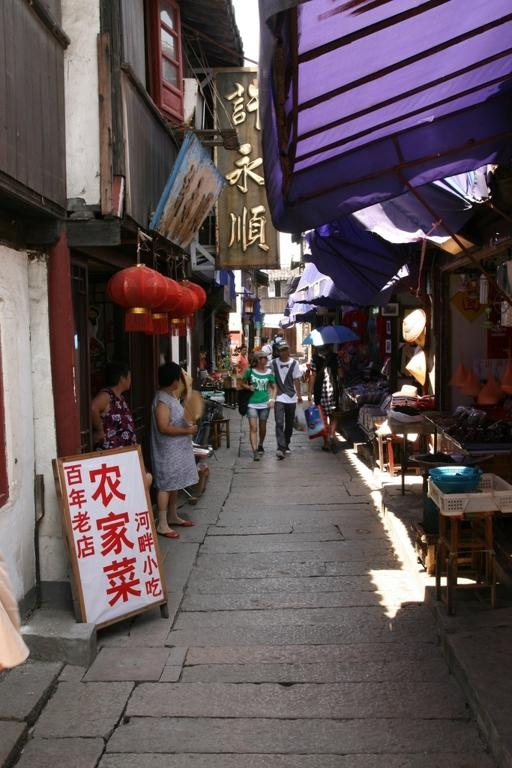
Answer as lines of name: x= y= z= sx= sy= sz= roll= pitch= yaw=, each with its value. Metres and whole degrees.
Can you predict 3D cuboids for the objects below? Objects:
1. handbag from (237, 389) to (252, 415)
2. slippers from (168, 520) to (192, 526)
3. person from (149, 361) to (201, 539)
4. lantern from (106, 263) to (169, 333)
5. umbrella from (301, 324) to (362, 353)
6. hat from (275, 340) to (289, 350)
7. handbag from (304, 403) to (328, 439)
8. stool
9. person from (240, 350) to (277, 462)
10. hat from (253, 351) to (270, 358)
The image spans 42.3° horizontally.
handbag: x=-0.191 y=0.304 z=11.189 sx=0.227 sy=0.445 sz=0.175 roll=-1 pitch=4 yaw=3
slippers: x=-0.805 y=1.507 z=7.136 sx=0.190 sy=0.048 sz=0.091 roll=-3 pitch=-4 yaw=9
person: x=-0.851 y=0.660 z=6.858 sx=0.446 sy=1.776 sz=0.959 roll=-2 pitch=4 yaw=-8
lantern: x=-0.891 y=-0.664 z=5.275 sx=0.487 sy=0.543 sz=0.498 roll=-1 pitch=0 yaw=-2
umbrella: x=1.442 y=-0.991 z=13.657 sx=0.767 sy=0.268 sz=0.770 roll=-11 pitch=5 yaw=-25
hat: x=0.439 y=-0.678 z=11.389 sx=0.226 sy=0.172 sz=0.373 roll=-6 pitch=4 yaw=-3
handbag: x=1.013 y=0.648 z=11.413 sx=0.332 sy=0.580 sz=0.302 roll=-1 pitch=4 yaw=4
stool: x=1.492 y=1.217 z=4.607 sx=0.389 sy=0.617 sz=0.360 roll=-7 pitch=-12 yaw=22
person: x=0.033 y=0.348 z=11.407 sx=0.534 sy=1.841 sz=0.844 roll=-2 pitch=4 yaw=1
hat: x=0.074 y=-0.500 z=11.186 sx=0.189 sy=0.124 sz=0.303 roll=-1 pitch=3 yaw=7
